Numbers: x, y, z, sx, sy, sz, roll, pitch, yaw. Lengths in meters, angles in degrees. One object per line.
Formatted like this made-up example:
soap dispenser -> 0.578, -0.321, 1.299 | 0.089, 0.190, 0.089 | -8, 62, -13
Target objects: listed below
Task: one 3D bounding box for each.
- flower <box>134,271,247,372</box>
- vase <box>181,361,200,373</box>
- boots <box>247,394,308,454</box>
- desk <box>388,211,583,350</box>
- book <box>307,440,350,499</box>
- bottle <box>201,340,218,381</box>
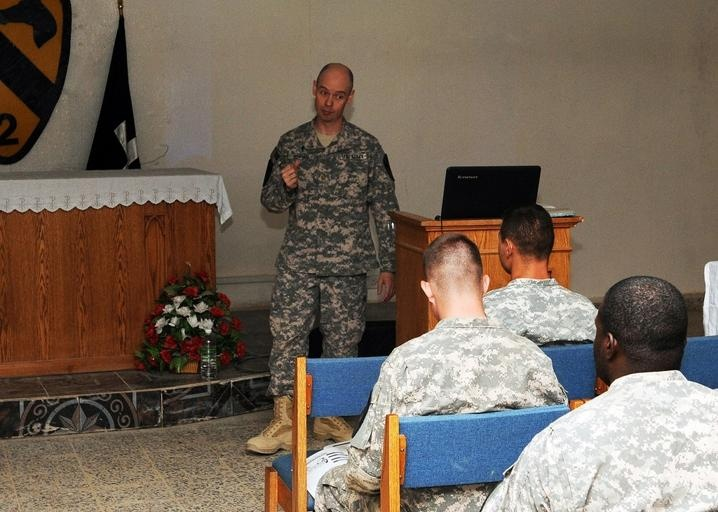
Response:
flower -> -1.052, 0.428, 5.398 | 0.598, 0.619, 0.620 | -3, -5, 35
vase -> -1.070, 0.709, 5.230 | 0.081, 0.064, 0.084 | 2, -3, -1
boots -> -0.495, 0.941, 4.672 | 0.133, 0.314, 0.396 | -2, -1, 40
desk -> 0.710, 0.037, 4.601 | 0.878, 1.185, 0.754 | -2, 2, -22
book -> -0.133, 0.851, 3.332 | 0.171, 0.054, 0.184 | -20, 27, -13
bottle -> -0.945, 0.641, 5.160 | 0.104, 0.241, 0.124 | 2, 0, -6
